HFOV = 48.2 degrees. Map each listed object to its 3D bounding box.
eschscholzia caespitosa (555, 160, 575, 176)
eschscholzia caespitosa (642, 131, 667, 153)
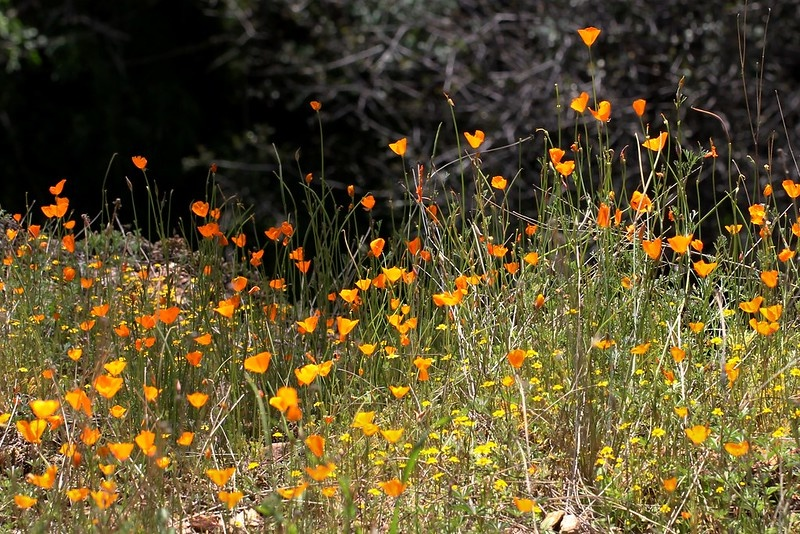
[{"bbox_3d":[0.740,-0.436,4.013,0.068,0.064,0.077,0,4,27],"label":"eschscholzia caespitosa"},{"bbox_3d":[1.169,-0.575,4.067,0.091,0.106,0.216,0,-7,15],"label":"eschscholzia caespitosa"}]
